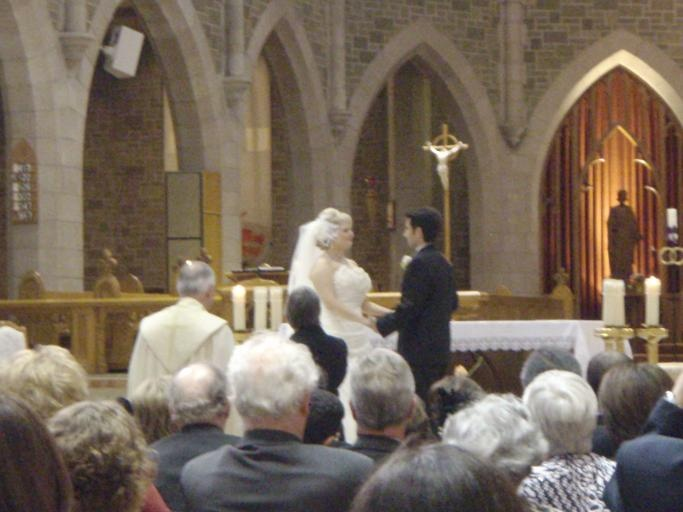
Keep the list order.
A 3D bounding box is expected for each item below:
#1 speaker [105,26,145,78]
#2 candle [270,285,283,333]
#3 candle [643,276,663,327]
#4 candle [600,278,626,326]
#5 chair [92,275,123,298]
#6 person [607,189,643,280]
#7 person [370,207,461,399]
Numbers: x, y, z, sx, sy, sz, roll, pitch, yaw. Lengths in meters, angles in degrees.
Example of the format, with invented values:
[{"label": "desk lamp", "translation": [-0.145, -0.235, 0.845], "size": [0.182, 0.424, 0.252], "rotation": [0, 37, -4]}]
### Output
[{"label": "speaker", "translation": [-2.833, -2.684, 23.723], "size": [0.509, 0.598, 0.379], "rotation": [0, -5, -2]}, {"label": "candle", "translation": [-0.680, 0.533, 18.724], "size": [0.113, 0.450, 0.183], "rotation": [0, -5, -5]}, {"label": "candle", "translation": [3.057, 0.441, 18.159], "size": [0.129, 0.500, 0.234], "rotation": [-2, -5, 13]}, {"label": "candle", "translation": [2.643, 0.448, 17.951], "size": [0.212, 0.485, 0.232], "rotation": [-1, -5, 6]}, {"label": "chair", "translation": [-2.635, 0.357, 20.734], "size": [0.398, 0.346, 0.208], "rotation": [1, -4, -5]}, {"label": "person", "translation": [3.936, -0.290, 25.730], "size": [0.448, 1.291, 0.357], "rotation": [-1, -5, 1]}, {"label": "person", "translation": [0.751, 0.475, 18.126], "size": [0.750, 1.927, 0.293], "rotation": [-1, -5, 4]}]
